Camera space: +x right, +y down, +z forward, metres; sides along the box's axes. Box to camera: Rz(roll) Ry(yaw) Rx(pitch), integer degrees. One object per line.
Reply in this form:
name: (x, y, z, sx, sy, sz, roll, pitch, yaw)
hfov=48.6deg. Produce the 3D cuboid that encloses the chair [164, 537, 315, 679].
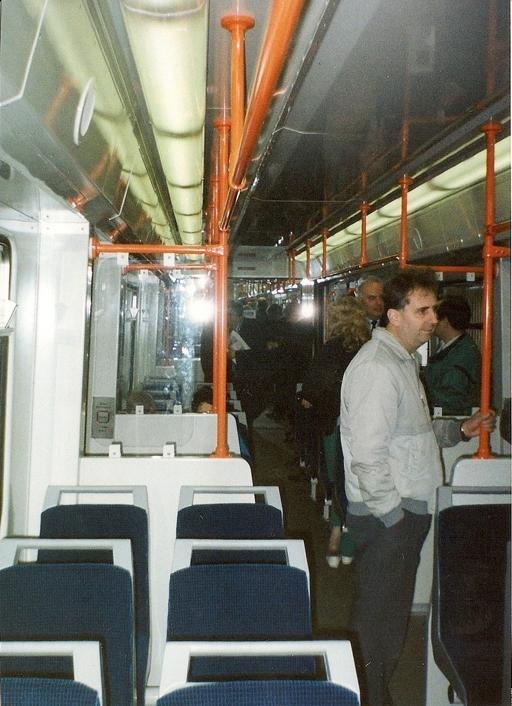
chair: (-0.063, 0.658, 1.657, 0.417, 0.464, 0.299, -1, -12, -9)

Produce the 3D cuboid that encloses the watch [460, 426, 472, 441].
watch: (0.806, 0.309, 2.184, 0.041, 0.057, 0.048, 3, 39, 23)

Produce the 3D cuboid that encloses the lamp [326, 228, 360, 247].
lamp: (0.717, -1.050, 4.623, 0.034, 0.060, 0.345, -26, 10, -26)

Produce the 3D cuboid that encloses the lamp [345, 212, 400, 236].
lamp: (0.882, -1.094, 4.326, 0.133, 0.133, 0.561, -1, 1, -21)
